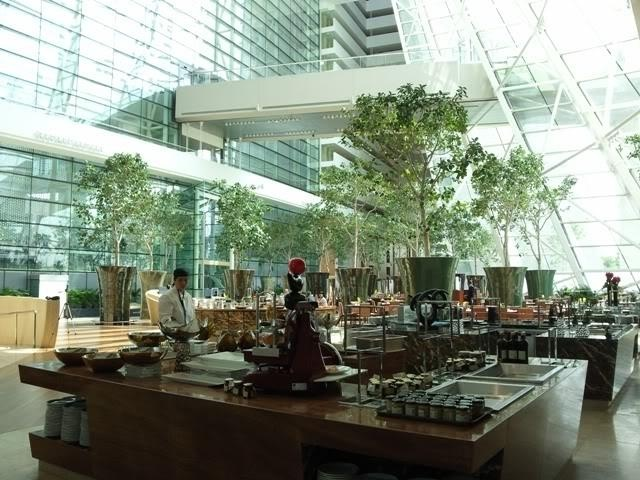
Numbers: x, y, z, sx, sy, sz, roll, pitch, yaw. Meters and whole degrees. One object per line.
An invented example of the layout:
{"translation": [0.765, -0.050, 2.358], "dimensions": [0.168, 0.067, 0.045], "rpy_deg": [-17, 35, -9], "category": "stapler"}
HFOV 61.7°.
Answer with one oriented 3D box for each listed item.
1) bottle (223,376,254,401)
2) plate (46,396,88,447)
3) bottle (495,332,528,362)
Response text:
{"translation": [-0.583, 1.089, 3.938], "dimensions": [0.322, 0.110, 0.141], "rpy_deg": [-1, -1, 44], "category": "bottle"}
{"translation": [-2.329, 1.680, 4.929], "dimensions": [0.447, 0.274, 0.428], "rpy_deg": [5, -11, -9], "category": "plate"}
{"translation": [1.833, 1.033, 5.101], "dimensions": [0.291, 0.258, 0.094], "rpy_deg": [1, 2, 26], "category": "bottle"}
